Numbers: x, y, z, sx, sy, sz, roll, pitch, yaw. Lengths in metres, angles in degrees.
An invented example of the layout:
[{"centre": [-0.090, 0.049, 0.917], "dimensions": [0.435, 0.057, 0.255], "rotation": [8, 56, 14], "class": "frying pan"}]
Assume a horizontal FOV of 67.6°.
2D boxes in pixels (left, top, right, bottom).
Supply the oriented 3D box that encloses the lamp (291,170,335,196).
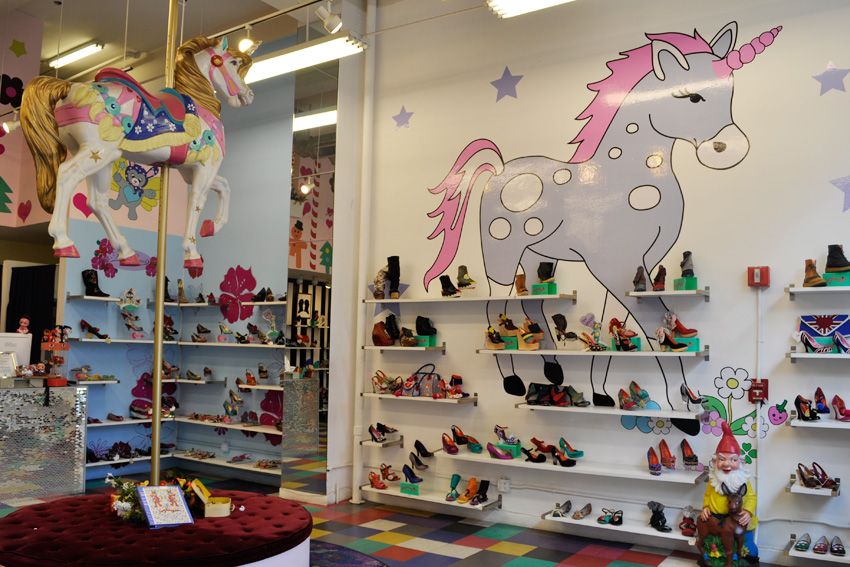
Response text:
[{"centre": [-1.486, -1.334, 8.385], "dimensions": [0.650, 0.271, 0.134], "rotation": [6, 6, 43], "class": "lamp"}]
